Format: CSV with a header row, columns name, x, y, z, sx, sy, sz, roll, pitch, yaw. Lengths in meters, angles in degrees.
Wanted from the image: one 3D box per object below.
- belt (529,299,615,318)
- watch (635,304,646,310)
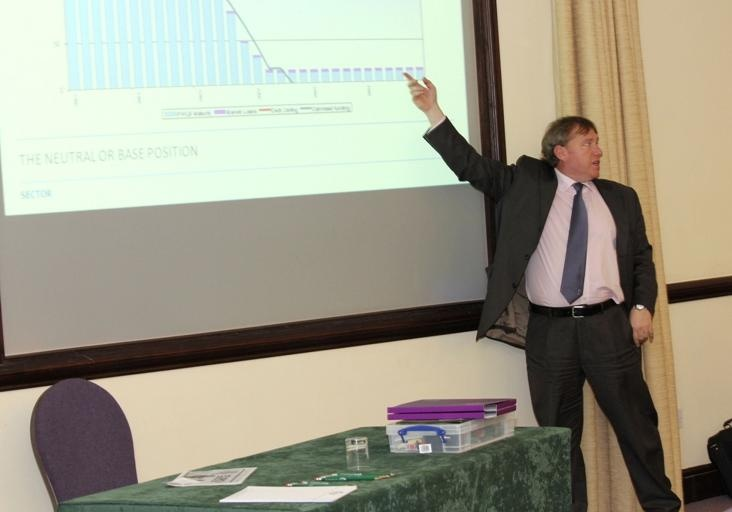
name,x,y,z,sx,sy,sz,roll,pitch,yaw
belt,1.076,0.273,3.332,0.419,0.076,0.089,-1,7,13
watch,1.413,0.261,3.322,0.028,0.028,0.008,0,-15,32
